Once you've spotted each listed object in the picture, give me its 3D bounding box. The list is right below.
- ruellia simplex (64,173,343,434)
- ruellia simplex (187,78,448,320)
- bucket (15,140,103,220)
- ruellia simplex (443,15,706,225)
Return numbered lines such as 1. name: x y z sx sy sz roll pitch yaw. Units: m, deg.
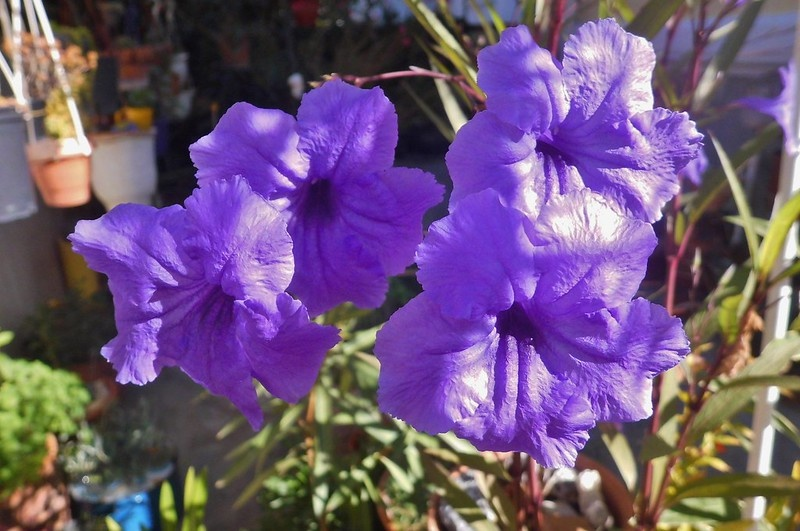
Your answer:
1. ruellia simplex: -0.346 0.010 1.779 0.485 0.472 0.465 -11 23 -32
2. ruellia simplex: -0.166 -0.192 1.855 0.511 0.422 0.500 -9 24 -18
3. bucket: -0.877 -0.223 2.331 0.201 0.195 0.198 -10 4 1
4. ruellia simplex: 0.304 -0.264 1.664 0.404 0.416 0.164 0 -8 -4
